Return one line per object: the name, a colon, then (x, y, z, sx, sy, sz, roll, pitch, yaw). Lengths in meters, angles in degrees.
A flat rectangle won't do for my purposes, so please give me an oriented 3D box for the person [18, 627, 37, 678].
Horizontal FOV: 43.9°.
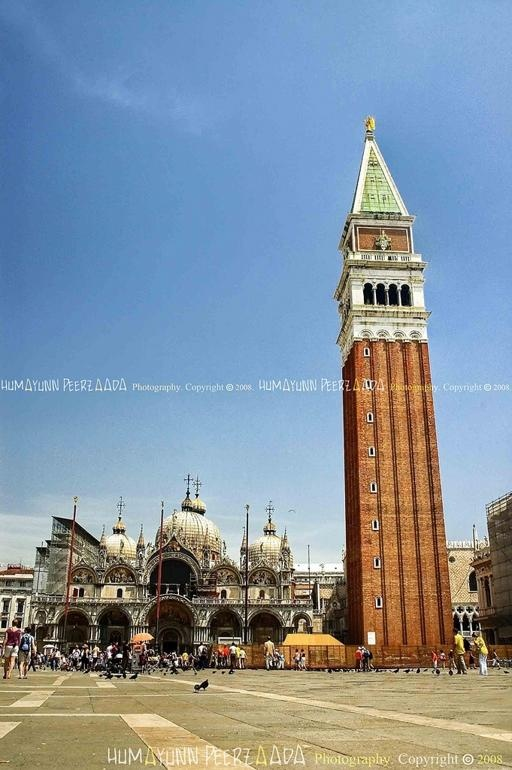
person: (-7.155, 8.328, 19.753, 0.491, 1.496, 0.580, -14, -33, 16)
